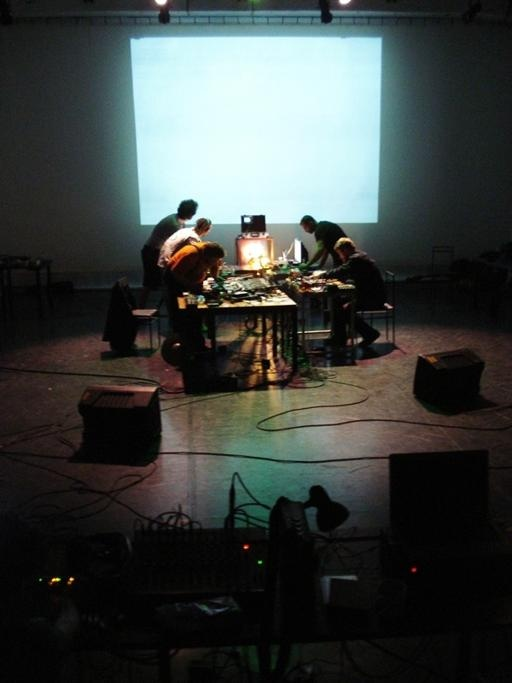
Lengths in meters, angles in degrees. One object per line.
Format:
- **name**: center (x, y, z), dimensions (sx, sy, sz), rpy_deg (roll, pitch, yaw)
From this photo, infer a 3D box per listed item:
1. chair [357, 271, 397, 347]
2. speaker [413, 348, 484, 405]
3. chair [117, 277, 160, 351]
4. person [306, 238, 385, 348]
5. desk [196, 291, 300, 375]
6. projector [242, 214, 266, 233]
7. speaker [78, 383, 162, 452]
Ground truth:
- **chair**: center (1.429, -0.434, 7.323), dimensions (0.454, 0.668, 0.480), rpy_deg (-3, 11, 26)
- **speaker**: center (1.442, 0.276, 4.577), dimensions (0.347, 0.299, 0.180), rpy_deg (-11, 22, -24)
- **chair**: center (-1.303, -0.381, 6.961), dimensions (0.395, 0.768, 1.533), rpy_deg (-3, 11, -9)
- **person**: center (1.043, -0.492, 6.351), dimensions (0.687, 1.147, 0.554), rpy_deg (2, 11, 18)
- **desk**: center (-0.029, -0.152, 5.739), dimensions (0.839, 0.580, 1.203), rpy_deg (-3, 19, -5)
- **projector**: center (-0.034, -1.608, 8.438), dimensions (0.468, 0.300, 0.256), rpy_deg (0, 0, -2)
- **speaker**: center (-0.839, 0.468, 3.970), dimensions (0.451, 0.296, 0.398), rpy_deg (3, 35, 4)
